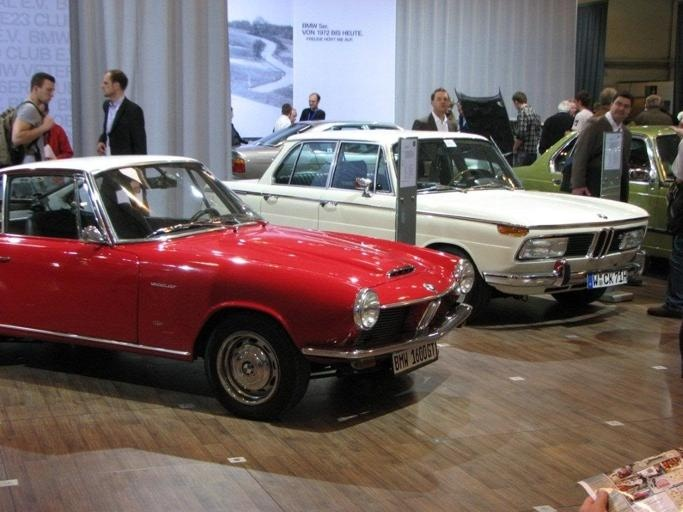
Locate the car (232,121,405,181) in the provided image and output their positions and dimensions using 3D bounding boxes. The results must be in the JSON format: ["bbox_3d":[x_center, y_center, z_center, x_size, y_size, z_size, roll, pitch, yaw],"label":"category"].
[{"bbox_3d":[-0.381,-2.489,11.428,4.482,1.143,1.635,-3,10,-13],"label":"car"}]

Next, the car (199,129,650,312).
[{"bbox_3d":[0.759,-0.564,5.880,4.466,1.244,2.282,7,10,34],"label":"car"}]

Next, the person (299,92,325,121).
[{"bbox_3d":[-0.725,-3.975,13.020,0.624,0.758,0.617,-2,10,-18],"label":"person"}]
